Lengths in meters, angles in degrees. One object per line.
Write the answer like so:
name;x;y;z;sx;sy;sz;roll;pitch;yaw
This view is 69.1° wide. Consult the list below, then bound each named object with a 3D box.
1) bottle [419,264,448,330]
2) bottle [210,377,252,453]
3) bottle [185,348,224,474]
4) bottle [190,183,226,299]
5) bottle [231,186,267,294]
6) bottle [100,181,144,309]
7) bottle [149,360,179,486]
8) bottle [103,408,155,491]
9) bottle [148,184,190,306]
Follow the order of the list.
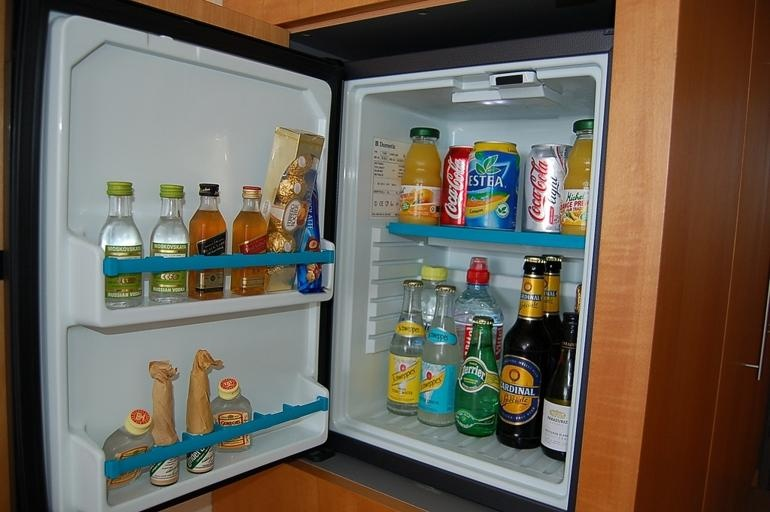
bottle;0.152;0.129;1.798;0.098;0.153;0.104;-5;-7;-1
bottle;-0.359;0.372;1.295;0.103;0.153;0.063;-5;0;-15
bottle;-0.398;0.332;1.257;0.073;0.255;0.147;0;4;9
bottle;-0.385;-0.035;1.235;0.069;0.241;0.120;0;4;19
bottle;-0.310;-0.035;1.274;0.086;0.240;0.061;-2;4;-23
bottle;-0.529;-0.026;1.117;0.076;0.249;0.121;-3;4;-24
bottle;-0.475;0.343;1.198;0.060;0.251;0.117;-2;4;-20
bottle;-0.529;0.388;1.145;0.093;0.160;0.082;-4;5;-40
bottle;-0.458;-0.029;1.179;0.080;0.244;0.120;-2;4;-19
